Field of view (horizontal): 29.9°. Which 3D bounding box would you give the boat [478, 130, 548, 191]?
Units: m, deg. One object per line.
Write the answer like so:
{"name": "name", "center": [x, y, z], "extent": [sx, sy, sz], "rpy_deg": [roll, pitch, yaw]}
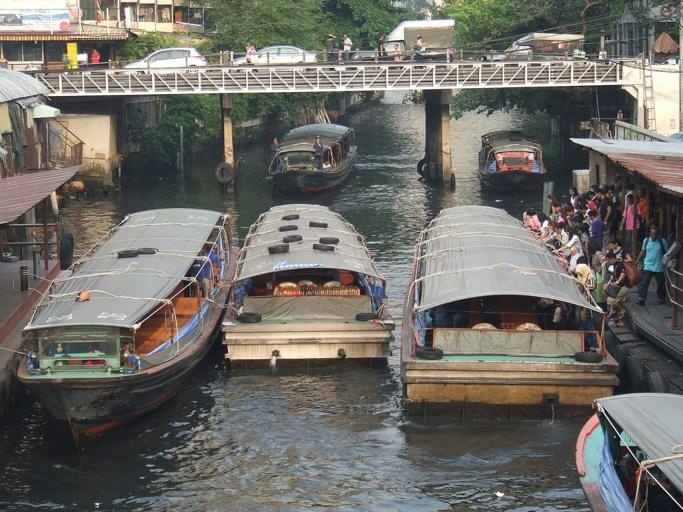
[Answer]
{"name": "boat", "center": [7.885, -4.459, 59.081], "extent": [3.225, 2.931, 3.735], "rpy_deg": [3, 14, 11]}

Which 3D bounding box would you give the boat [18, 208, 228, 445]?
{"name": "boat", "center": [-5.942, 1.937, 36.969], "extent": [3.918, 4.044, 8.110], "rpy_deg": [0, 17, 13]}

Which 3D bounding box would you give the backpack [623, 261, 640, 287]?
{"name": "backpack", "center": [8.401, 0.407, 37.025], "extent": [0.447, 0.766, 1.173], "rpy_deg": [0, 17, 13]}

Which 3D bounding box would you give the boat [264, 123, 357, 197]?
{"name": "boat", "center": [-1.350, -4.563, 60.484], "extent": [3.071, 2.743, 6.633], "rpy_deg": [-1, 16, 8]}

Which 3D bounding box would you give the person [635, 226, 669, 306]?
{"name": "person", "center": [9.005, 0.237, 37.140], "extent": [0.833, 2.244, 0.957], "rpy_deg": [2, 19, 2]}

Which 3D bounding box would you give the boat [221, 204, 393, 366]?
{"name": "boat", "center": [-1.091, 1.029, 38.696], "extent": [3.591, 2.135, 7.587], "rpy_deg": [-1, 15, 0]}
